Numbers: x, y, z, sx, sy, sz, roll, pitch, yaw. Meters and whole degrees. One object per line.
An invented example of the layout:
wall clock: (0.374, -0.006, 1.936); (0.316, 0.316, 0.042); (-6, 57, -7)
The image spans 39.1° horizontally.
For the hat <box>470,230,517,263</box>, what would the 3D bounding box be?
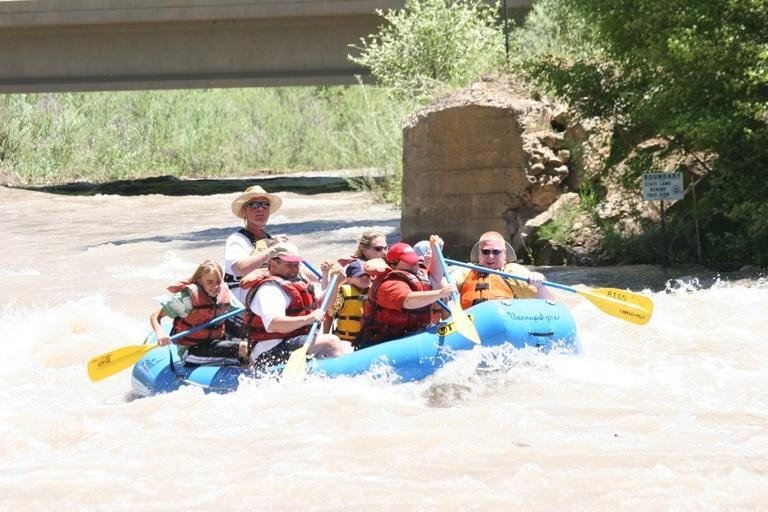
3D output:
hat: (1.562, -0.114, 15.134); (0.621, 0.614, 0.268); (-2, -7, 4)

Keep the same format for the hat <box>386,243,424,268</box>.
hat: (0.244, -0.021, 14.218); (0.364, 0.197, 0.255); (3, 6, 5)

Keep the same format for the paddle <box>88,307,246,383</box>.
paddle: (-2.946, 1.274, 14.923); (2.954, 0.390, 0.109); (-21, -3, 9)

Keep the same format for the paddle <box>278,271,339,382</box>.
paddle: (-0.868, 0.901, 14.321); (0.302, 1.998, 0.145); (24, -28, 8)

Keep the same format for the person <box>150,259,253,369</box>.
person: (-2.329, 0.828, 14.586); (1.174, 1.461, 1.186); (13, 10, 35)

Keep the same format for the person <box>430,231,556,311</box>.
person: (1.695, 0.240, 15.941); (1.014, 0.478, 1.445); (-17, 40, -4)
